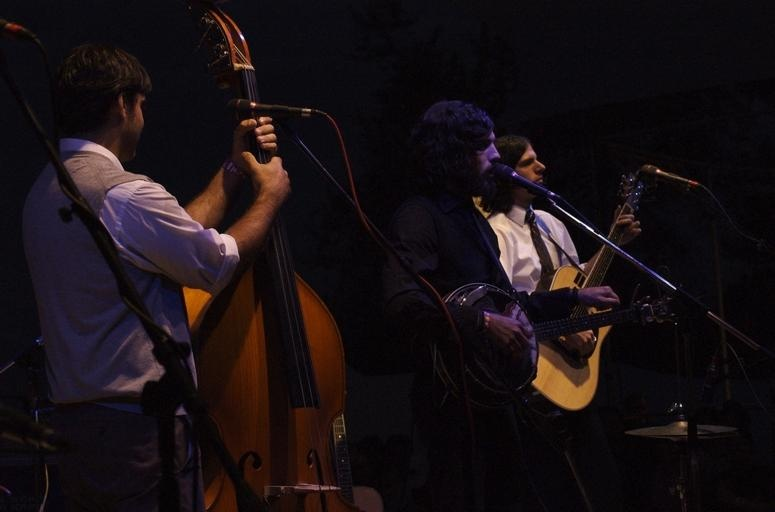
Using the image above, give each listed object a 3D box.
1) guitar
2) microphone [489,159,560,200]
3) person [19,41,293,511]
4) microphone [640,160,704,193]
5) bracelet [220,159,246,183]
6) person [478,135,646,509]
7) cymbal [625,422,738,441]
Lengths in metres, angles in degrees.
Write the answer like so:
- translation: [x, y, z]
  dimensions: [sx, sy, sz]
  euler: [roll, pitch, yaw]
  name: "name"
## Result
- translation: [1.371, 0.218, 5.514]
  dimensions: [0.661, 1.732, 0.170]
  euler: [44, -31, -25]
  name: "guitar"
- translation: [0.898, -0.512, 5.550]
  dimensions: [0.473, 0.117, 0.115]
  euler: [36, -14, -8]
  name: "microphone"
- translation: [-1.112, 0.072, 3.871]
  dimensions: [1.104, 2.190, 0.712]
  euler: [5, -11, -27]
  name: "person"
- translation: [2.088, -0.573, 6.042]
  dimensions: [0.415, 0.138, 0.113]
  euler: [26, 19, 31]
  name: "microphone"
- translation: [-0.832, -0.469, 4.525]
  dimensions: [0.103, 0.084, 0.122]
  euler: [9, -15, 28]
  name: "bracelet"
- translation: [1.094, 0.296, 5.598]
  dimensions: [0.954, 2.700, 0.345]
  euler: [-6, -2, -30]
  name: "person"
- translation: [2.106, 1.239, 5.870]
  dimensions: [0.417, 0.072, 0.369]
  euler: [2, -5, -24]
  name: "cymbal"
